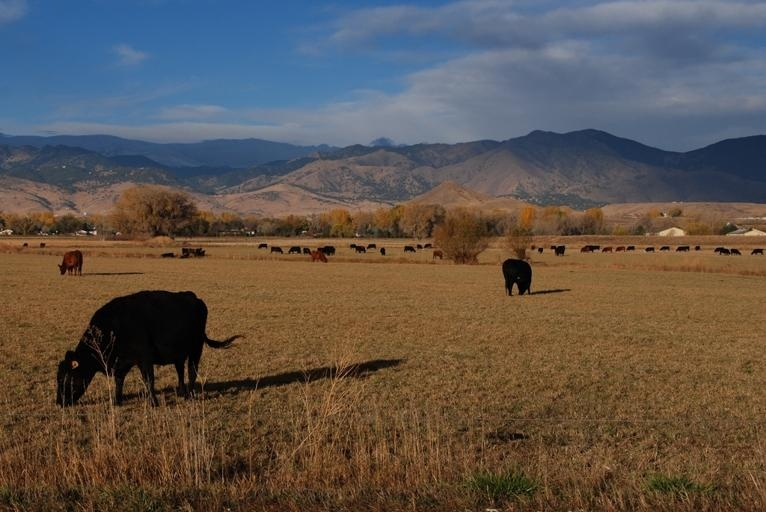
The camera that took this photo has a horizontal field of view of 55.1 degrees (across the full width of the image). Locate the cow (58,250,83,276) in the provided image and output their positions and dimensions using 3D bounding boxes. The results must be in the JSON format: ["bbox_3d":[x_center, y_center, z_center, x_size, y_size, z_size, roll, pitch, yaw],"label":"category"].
[{"bbox_3d":[-23.456,0.459,55.311,1.364,2.018,2.863,-4,13,-20],"label":"cow"}]

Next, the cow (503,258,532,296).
[{"bbox_3d":[8.237,1.290,45.554,1.679,2.453,2.935,3,13,10],"label":"cow"}]

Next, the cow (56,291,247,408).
[{"bbox_3d":[-7.243,2.837,22.441,1.640,3.497,5.512,3,7,44],"label":"cow"}]

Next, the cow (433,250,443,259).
[{"bbox_3d":[6.212,-0.299,85.132,0.508,1.051,1.966,-3,-8,32],"label":"cow"}]
